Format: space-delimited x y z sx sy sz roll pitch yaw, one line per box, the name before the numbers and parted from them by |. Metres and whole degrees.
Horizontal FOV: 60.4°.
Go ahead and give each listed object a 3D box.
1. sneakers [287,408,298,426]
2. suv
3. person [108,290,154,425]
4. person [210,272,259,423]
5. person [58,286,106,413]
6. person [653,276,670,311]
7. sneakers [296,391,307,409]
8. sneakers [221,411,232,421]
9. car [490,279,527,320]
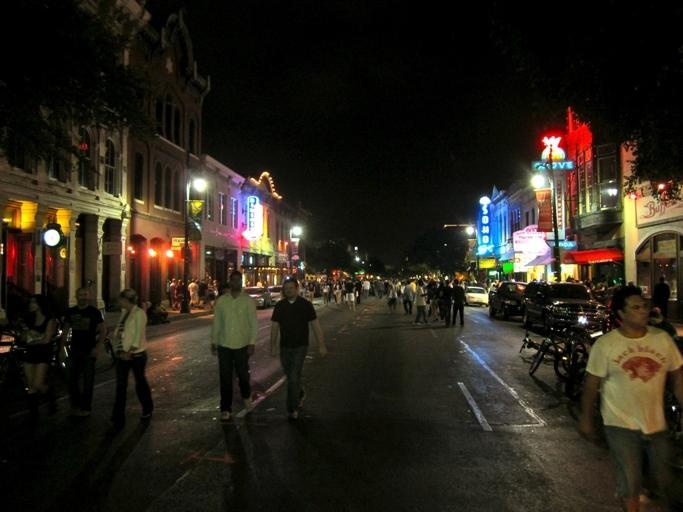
sneakers | -0.780 2.608 9.567 0.158 0.195 0.177 0 5 -8
suv | 7.830 1.719 20.245 1.894 1.821 4.412 0 -8 -3
person | -3.449 1.613 9.557 0.595 2.179 0.807 -1 -4 5
person | -1.768 1.448 9.704 0.735 2.416 0.511 0 -4 -12
person | -4.436 1.604 10.115 0.556 2.121 0.910 3 -5 -38
person | 11.156 1.572 20.421 0.518 1.803 0.500 5 21 30
sneakers | -0.687 2.464 10.043 0.200 0.368 0.107 3 -25 -10
sneakers | -1.881 2.602 9.575 0.085 0.090 0.231 1 0 -1
car | 8.072 2.076 28.430 0.991 1.027 2.319 0 -6 -7
